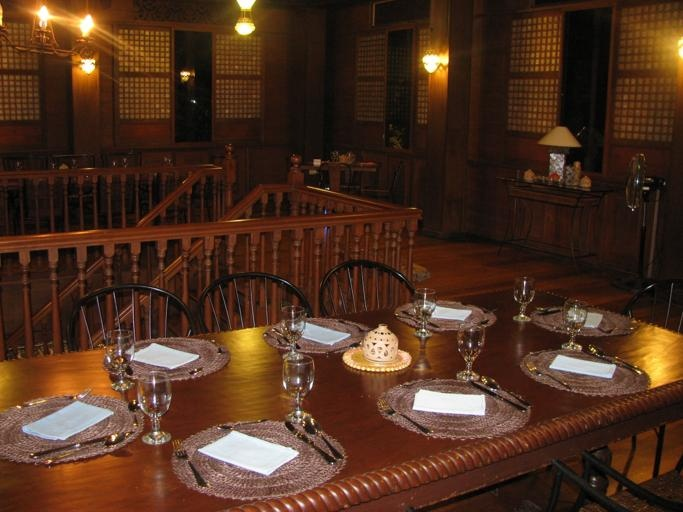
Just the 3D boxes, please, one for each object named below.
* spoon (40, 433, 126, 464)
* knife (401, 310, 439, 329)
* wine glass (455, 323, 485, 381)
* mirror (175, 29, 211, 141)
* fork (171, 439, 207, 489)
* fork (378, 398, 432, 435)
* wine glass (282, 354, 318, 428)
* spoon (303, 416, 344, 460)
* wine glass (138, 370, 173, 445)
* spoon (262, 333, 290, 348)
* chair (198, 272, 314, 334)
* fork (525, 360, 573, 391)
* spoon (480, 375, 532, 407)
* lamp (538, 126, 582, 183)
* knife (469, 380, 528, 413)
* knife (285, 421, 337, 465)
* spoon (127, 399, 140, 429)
[{"bbox_3d":[-0.718,0.539,1.570,0.240,0.028,0.066,-11,18,-28],"label":"spoon"},{"bbox_3d":[0.360,0.292,2.519,0.064,0.014,0.201,-3,14,-4],"label":"knife"},{"bbox_3d":[0.483,0.369,2.064,0.141,0.226,0.130,-1,23,5],"label":"wine glass"},{"bbox_3d":[-2.553,-2.938,9.493,0.739,1.824,0.215,-6,15,-21],"label":"mirror"},{"bbox_3d":[-0.413,0.563,1.489,0.045,0.047,0.331,-15,17,-16],"label":"fork"},{"bbox_3d":[0.190,0.509,1.761,0.051,0.033,0.267,-16,16,-25],"label":"fork"},{"bbox_3d":[-0.132,0.407,1.712,0.091,0.222,0.127,-1,14,-3],"label":"wine glass"},{"bbox_3d":[-0.062,0.536,1.629,0.046,0.033,0.251,0,18,-20],"label":"spoon"},{"bbox_3d":[-0.564,0.423,1.648,0.090,0.212,0.202,-6,14,-20],"label":"wine glass"},{"bbox_3d":[-0.279,0.355,2.318,0.066,0.002,0.068,12,18,30],"label":"spoon"},{"bbox_3d":[-0.535,0.283,3.447,0.532,0.608,0.466,-6,13,-30],"label":"chair"},{"bbox_3d":[0.772,0.444,2.061,0.044,0.027,0.201,-5,14,-26],"label":"fork"},{"bbox_3d":[0.577,0.469,1.946,0.050,0.026,0.199,-6,15,-22],"label":"spoon"},{"bbox_3d":[2.639,-1.249,6.671,0.437,0.640,0.702,5,14,22],"label":"lamp"},{"bbox_3d":[0.528,0.462,1.939,0.052,0.026,0.343,-6,10,-21],"label":"knife"},{"bbox_3d":[-0.104,0.529,1.620,0.052,0.029,0.366,-10,14,-22],"label":"knife"},{"bbox_3d":[-0.658,0.497,1.749,0.031,0.019,0.139,-6,19,-18],"label":"spoon"}]
